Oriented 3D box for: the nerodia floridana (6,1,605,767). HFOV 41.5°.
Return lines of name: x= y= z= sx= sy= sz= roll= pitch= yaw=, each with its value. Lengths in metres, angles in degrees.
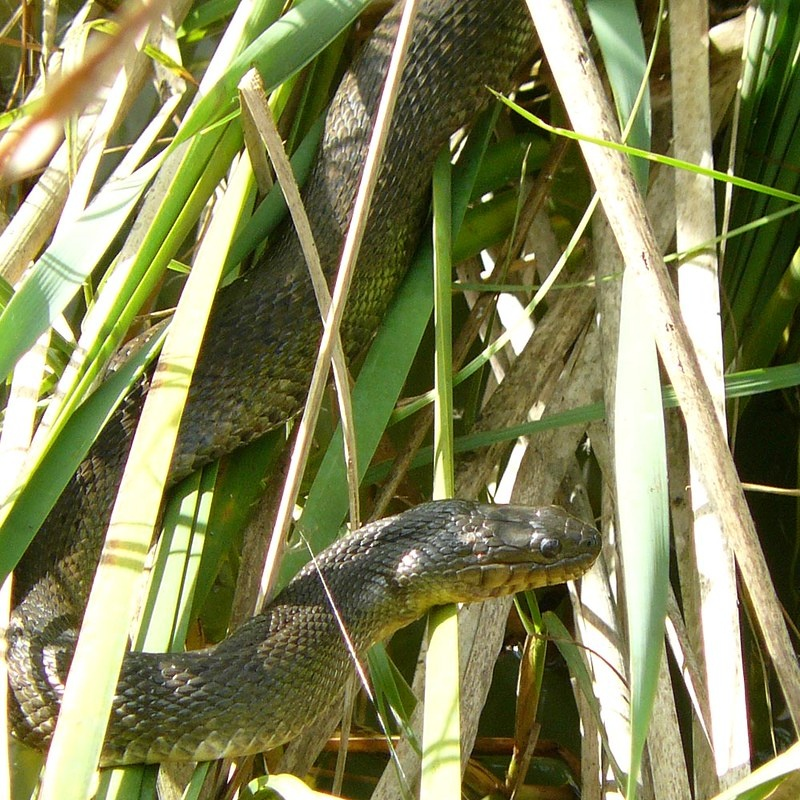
nerodia floridana: x=-0.217 y=-0.186 z=2.648 sx=1.353 sy=2.124 sz=0.631 roll=7 pitch=-12 yaw=-14
